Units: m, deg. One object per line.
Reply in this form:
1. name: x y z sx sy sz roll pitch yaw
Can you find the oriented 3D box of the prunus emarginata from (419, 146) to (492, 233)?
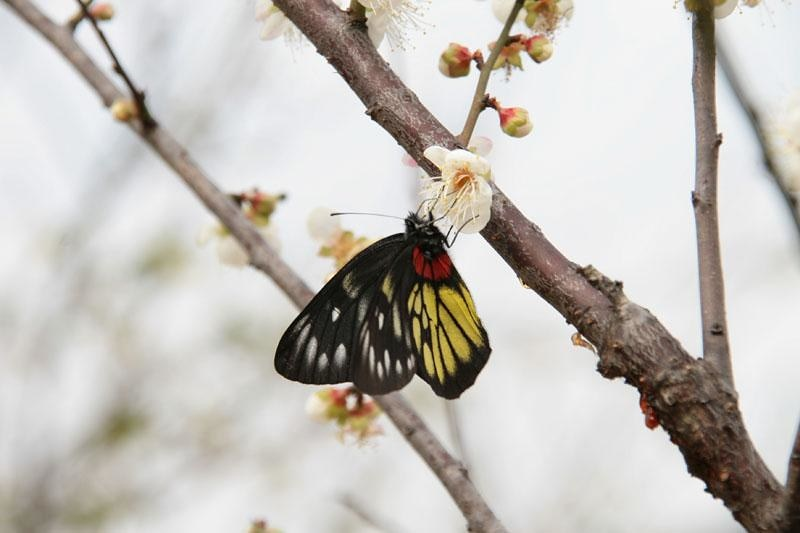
1. prunus emarginata: 0.142 -0.209 2.520 0.105 0.225 0.212 0 -59 24
